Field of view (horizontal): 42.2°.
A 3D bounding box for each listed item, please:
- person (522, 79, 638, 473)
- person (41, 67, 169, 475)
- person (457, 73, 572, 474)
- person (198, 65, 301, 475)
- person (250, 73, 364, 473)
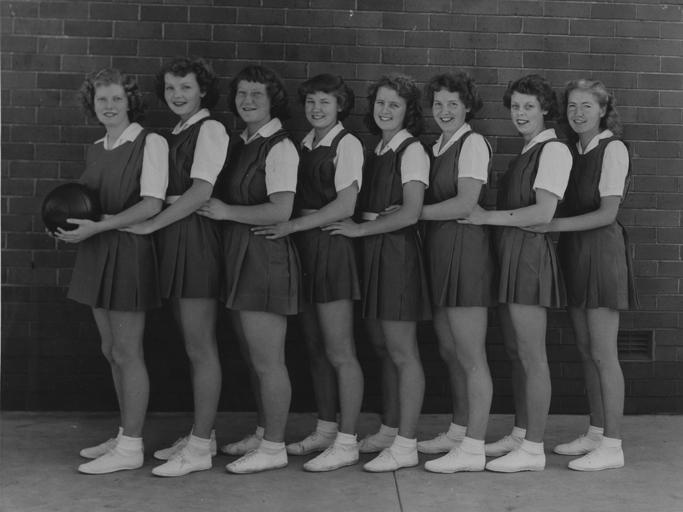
[{"bbox_3d":[1.261,0.085,4.842,0.859,2.073,0.691,1,1,-16],"label":"person"},{"bbox_3d":[-1.147,0.061,4.848,0.827,1.995,0.645,0,-2,-2],"label":"person"},{"bbox_3d":[0.934,0.081,4.682,0.466,2.033,0.756,3,13,13],"label":"person"},{"bbox_3d":[-0.464,0.049,4.632,0.498,2.044,0.664,-2,13,-10],"label":"person"},{"bbox_3d":[-0.166,0.073,4.702,0.603,2.028,0.533,0,11,-13],"label":"person"}]
